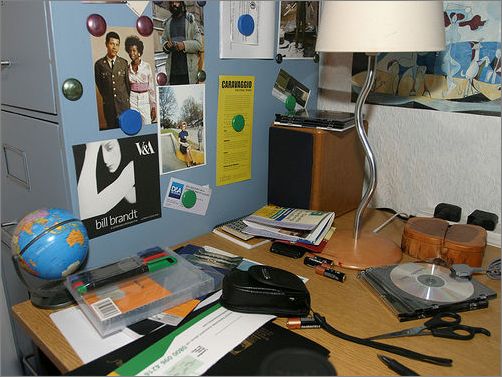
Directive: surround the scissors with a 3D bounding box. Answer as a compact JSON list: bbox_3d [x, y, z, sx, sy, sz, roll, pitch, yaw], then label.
[{"bbox_3d":[0.388,0.312,0.810,0.300,0.014,0.097,-1,12,-8],"label":"scissors"}]
